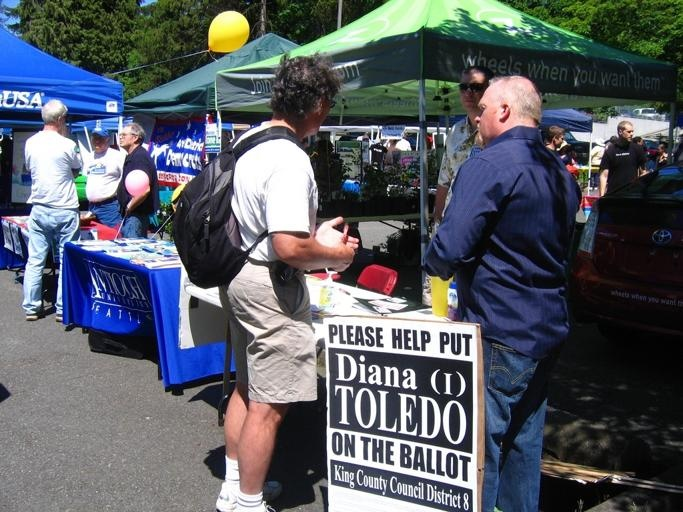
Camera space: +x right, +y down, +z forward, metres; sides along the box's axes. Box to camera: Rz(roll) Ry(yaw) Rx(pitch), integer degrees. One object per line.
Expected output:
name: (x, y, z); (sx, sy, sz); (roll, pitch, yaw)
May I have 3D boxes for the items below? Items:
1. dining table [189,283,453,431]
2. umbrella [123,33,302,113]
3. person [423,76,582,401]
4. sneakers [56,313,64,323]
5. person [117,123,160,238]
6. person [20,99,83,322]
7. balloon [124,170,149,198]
dining table: (-0.101, 0.794, 4.184); (0.753, 0.391, 1.483); (-10, 16, -31)
umbrella: (-2.707, -4.160, 14.132); (3.345, 1.637, 3.424); (-15, 12, -26)
person: (0.821, -0.198, 3.068); (0.775, 1.401, 0.471); (2, 12, 11)
sneakers: (-3.173, 0.699, 6.820); (0.078, 0.082, 0.106); (-8, 16, -40)
person: (-2.494, -0.892, 7.402); (0.494, 1.429, 0.836); (-5, 13, -23)
person: (-3.299, -0.492, 6.833); (0.732, 2.456, 0.536); (-6, 13, -26)
balloon: (-2.390, -0.847, 7.086); (0.270, 0.314, 0.246); (-5, 13, -21)
